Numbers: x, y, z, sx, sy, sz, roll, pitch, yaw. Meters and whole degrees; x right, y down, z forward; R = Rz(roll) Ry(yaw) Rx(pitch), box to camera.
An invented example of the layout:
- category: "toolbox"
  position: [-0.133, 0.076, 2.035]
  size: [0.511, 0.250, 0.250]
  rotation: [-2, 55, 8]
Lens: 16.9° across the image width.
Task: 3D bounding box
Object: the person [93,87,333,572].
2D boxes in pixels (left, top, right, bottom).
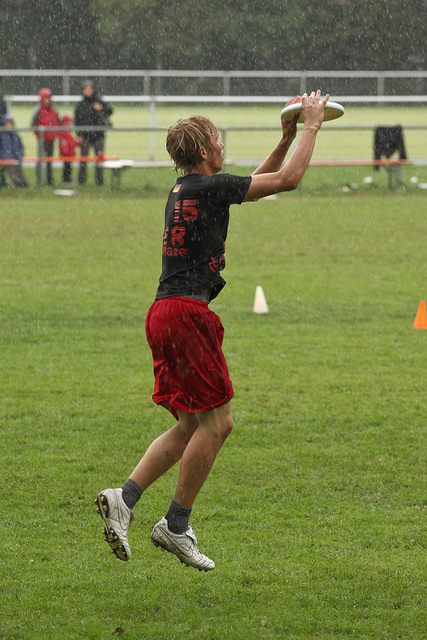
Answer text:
- category: "person"
  position: [-0.036, 0.076, 7.326]
  size: [1.121, 2.421, 0.790]
  rotation: [0, 5, -4]

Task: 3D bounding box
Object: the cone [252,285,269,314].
- category: "cone"
  position: [0.430, -0.179, 11.751]
  size: [0.137, 0.201, 0.326]
  rotation: [0, 7, 1]

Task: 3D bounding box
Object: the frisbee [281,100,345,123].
- category: "frisbee"
  position: [0.554, -1.085, 7.503]
  size: [0.326, 0.112, 0.509]
  rotation: [5, 8, 29]

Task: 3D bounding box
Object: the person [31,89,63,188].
- category: "person"
  position: [-1.890, -2.085, 16.361]
  size: [0.358, 1.063, 1.252]
  rotation: [0, 6, -7]
